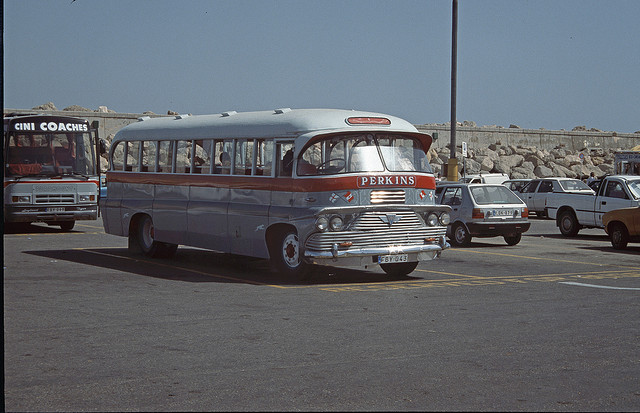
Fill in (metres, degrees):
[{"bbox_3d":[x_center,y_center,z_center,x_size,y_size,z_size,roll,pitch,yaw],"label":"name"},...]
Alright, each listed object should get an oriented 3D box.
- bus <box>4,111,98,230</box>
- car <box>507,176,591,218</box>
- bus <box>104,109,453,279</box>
[{"bbox_3d":[-10.484,-1.553,23.114,3.174,4.078,1.418,-1,3,-30],"label":"bus"},{"bbox_3d":[10.997,-0.438,28.390,2.001,1.340,3.959,-2,7,-19],"label":"car"},{"bbox_3d":[-1.821,-0.449,15.296,9.871,3.911,2.977,3,3,37],"label":"bus"}]
